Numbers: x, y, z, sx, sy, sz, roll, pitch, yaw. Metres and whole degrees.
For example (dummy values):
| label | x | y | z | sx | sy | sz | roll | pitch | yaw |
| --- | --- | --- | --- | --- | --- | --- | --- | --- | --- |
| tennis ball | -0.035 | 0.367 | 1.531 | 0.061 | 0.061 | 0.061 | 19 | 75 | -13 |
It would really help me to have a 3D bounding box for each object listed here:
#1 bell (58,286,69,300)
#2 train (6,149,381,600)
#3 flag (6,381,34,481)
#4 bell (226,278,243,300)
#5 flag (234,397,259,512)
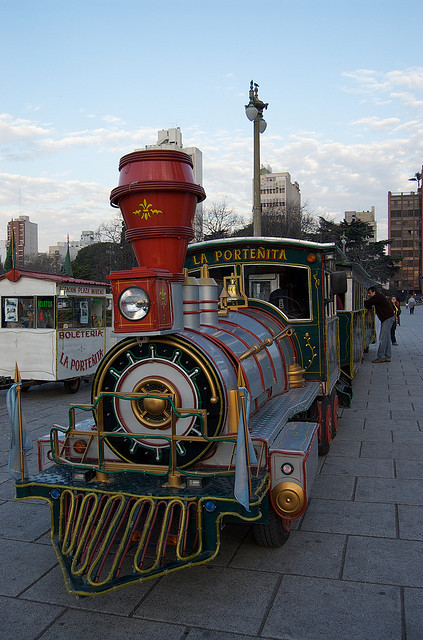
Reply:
| label | x | y | z | sx | sy | sz | roll | pitch | yaw |
| --- | --- | --- | --- | --- | --- | --- | --- | --- | --- |
| bell | -3.024 | -0.514 | 10.678 | 0.226 | 0.203 | 0.190 | -1 | 4 | -39 |
| train | 0.169 | 0.412 | 6.031 | 1.940 | 2.618 | 6.642 | -2 | 1 | 14 |
| flag | -1.399 | 0.861 | 3.877 | 0.184 | 0.760 | 1.079 | -2 | 0 | -22 |
| bell | 0.226 | -0.320 | 5.546 | 0.172 | 0.223 | 0.201 | -2 | 0 | 34 |
| flag | 0.169 | 0.809 | 3.058 | 0.082 | 0.546 | 0.158 | -2 | 1 | 3 |
